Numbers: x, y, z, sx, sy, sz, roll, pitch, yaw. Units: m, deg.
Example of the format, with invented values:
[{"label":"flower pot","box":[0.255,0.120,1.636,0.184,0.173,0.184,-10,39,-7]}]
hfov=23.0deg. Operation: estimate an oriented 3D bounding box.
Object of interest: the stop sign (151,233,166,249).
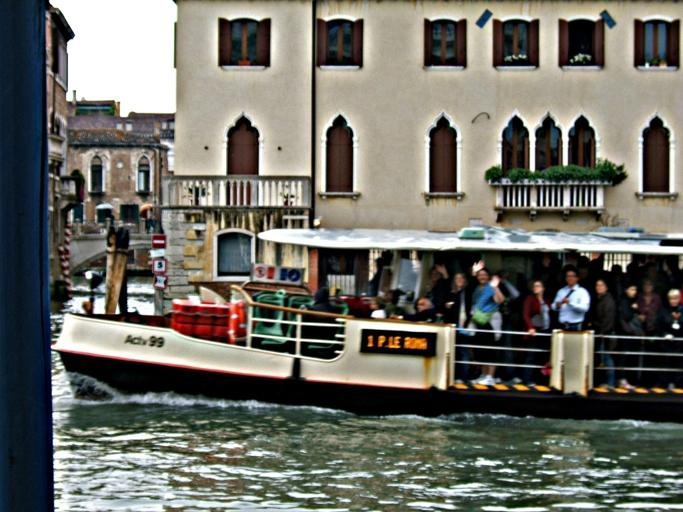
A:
[{"label":"stop sign","box":[-5.205,-0.418,47.193,0.399,0.388,0.386,-1,-2,37]}]

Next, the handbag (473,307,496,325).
[{"label":"handbag","box":[3.105,1.318,36.976,0.380,0.300,0.381,2,11,30]}]
